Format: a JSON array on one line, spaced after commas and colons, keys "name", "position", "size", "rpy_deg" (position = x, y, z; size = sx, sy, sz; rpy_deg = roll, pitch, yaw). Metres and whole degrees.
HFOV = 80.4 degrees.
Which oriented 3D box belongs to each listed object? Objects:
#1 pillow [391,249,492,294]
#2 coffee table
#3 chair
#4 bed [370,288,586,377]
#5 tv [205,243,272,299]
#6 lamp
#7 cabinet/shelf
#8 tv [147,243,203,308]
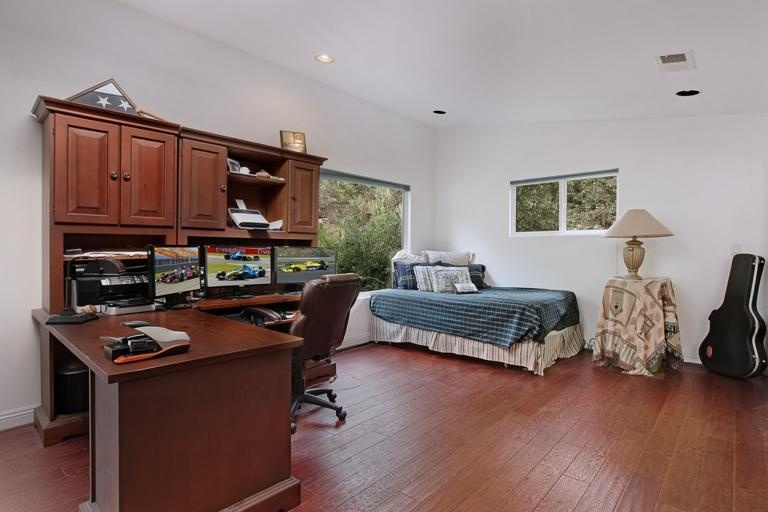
[{"name": "pillow", "position": [0.651, 0.150, 6.275], "size": [0.838, 0.681, 0.262], "rpy_deg": [2, -18, -10]}, {"name": "coffee table", "position": [2.876, 0.722, 5.175], "size": [0.826, 0.992, 0.781], "rpy_deg": [-9, 10, -30]}, {"name": "chair", "position": [-0.671, 0.758, 3.943], "size": [0.892, 1.234, 0.966], "rpy_deg": [3, -2, 17]}, {"name": "bed", "position": [1.085, 0.785, 5.344], "size": [1.491, 0.474, 1.209], "rpy_deg": [-1, 0, 34]}, {"name": "tv", "position": [-1.359, 0.134, 4.219], "size": [0.561, 0.336, 0.044], "rpy_deg": [0, -1, -44]}, {"name": "lamp", "position": [2.804, -0.089, 5.261], "size": [0.822, 0.730, 0.771], "rpy_deg": [1, -7, -1]}, {"name": "cabinet/shelf", "position": [-1.813, -0.411, 3.931], "size": [2.274, 1.313, 0.524], "rpy_deg": [5, -6, -45]}, {"name": "tv", "position": [-1.717, 0.159, 3.720], "size": [0.204, 0.598, 0.567], "rpy_deg": [-3, -2, 33]}]
